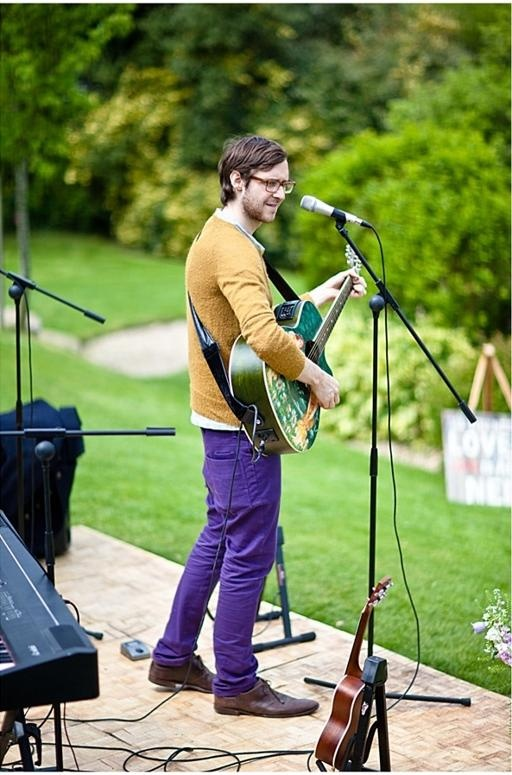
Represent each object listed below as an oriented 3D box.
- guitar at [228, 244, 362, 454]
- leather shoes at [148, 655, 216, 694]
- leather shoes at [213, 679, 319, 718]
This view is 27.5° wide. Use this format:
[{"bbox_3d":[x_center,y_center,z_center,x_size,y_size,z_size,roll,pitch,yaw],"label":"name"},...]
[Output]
[{"bbox_3d":[0.131,0.026,3.745,0.156,0.427,1.029,21,-26,19],"label":"guitar"},{"bbox_3d":[-0.256,1.012,3.740,0.266,0.105,0.106,4,1,-14],"label":"leather shoes"},{"bbox_3d":[0.042,1.061,3.588,0.401,0.129,0.125,0,-7,-3],"label":"leather shoes"}]
